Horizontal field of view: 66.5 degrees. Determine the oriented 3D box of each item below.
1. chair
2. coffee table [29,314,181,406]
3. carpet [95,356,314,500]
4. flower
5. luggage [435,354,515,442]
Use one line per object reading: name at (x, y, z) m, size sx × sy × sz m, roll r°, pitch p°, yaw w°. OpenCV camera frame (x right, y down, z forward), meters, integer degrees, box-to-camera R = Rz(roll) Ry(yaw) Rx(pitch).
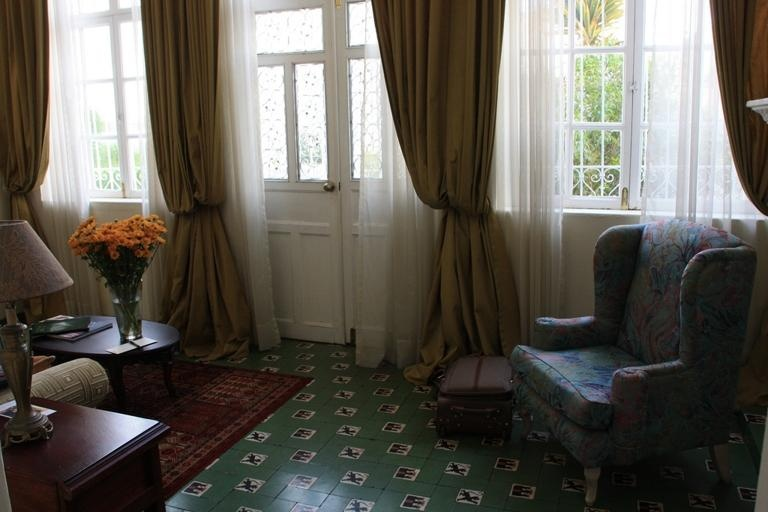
chair at (1.391, 0.551, 3.433) m, size 1.096 × 1.394 × 0.788 m, roll -5°, pitch 12°, yaw -9°
coffee table at (-1.815, 0.636, 4.029) m, size 0.722 × 0.375 × 0.591 m, roll 4°, pitch 15°, yaw 21°
carpet at (-1.411, 1.123, 4.383) m, size 1.396 × 0.013 × 1.337 m, roll -24°, pitch -17°, yaw -1°
flower at (-1.821, 0.179, 4.127) m, size 0.579 × 0.802 × 0.641 m, roll 5°, pitch 11°, yaw 44°
luggage at (0.585, 0.895, 3.810) m, size 0.399 × 0.253 × 0.490 m, roll 3°, pitch 17°, yaw 8°
